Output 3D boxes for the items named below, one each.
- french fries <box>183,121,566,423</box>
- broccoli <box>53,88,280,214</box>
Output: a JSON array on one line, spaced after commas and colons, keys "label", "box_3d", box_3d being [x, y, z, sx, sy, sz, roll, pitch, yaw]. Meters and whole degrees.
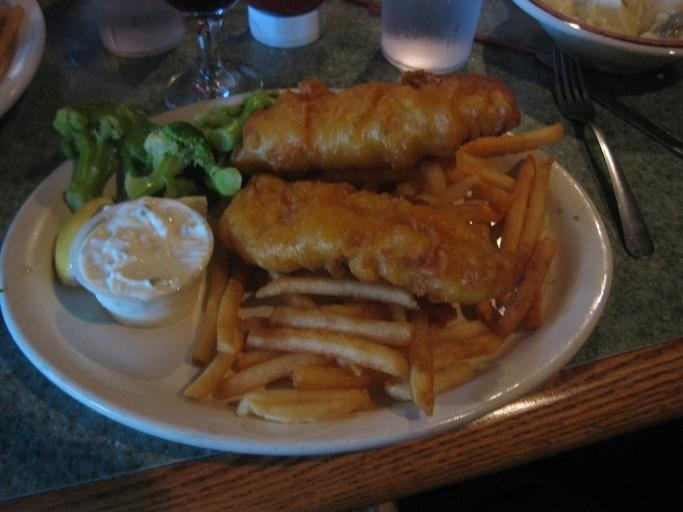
[{"label": "french fries", "box_3d": [0.191, -0.020, 2.578, 1.645, 1.161, 0.375, -16, -24, 0]}, {"label": "broccoli", "box_3d": [-0.854, -0.598, 3.007, 0.850, 0.512, 0.684, -10, 25, -14]}]
